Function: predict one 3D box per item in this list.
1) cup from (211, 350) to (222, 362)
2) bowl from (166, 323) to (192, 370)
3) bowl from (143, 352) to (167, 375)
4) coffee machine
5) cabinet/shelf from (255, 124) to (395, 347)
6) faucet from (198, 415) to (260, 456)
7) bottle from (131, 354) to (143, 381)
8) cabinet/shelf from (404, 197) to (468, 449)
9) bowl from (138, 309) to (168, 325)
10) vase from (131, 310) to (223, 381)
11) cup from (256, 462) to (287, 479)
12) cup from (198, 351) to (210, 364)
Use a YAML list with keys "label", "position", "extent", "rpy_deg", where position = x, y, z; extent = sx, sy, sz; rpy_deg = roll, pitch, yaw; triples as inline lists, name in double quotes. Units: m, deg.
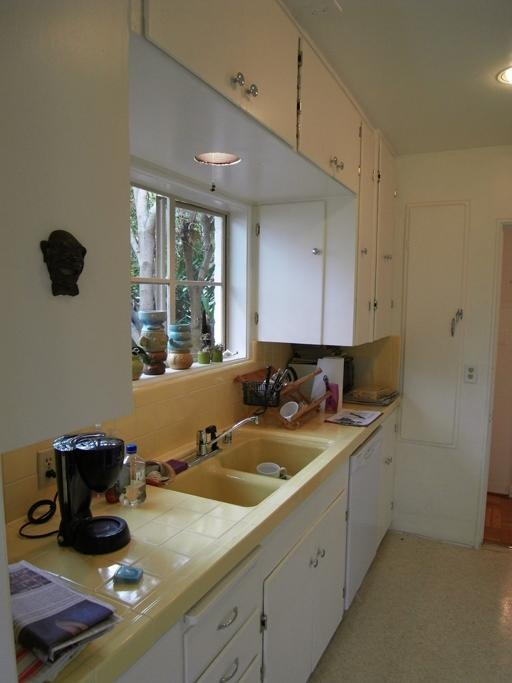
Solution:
- label: "cup"
  position: [-0.173, 0.061, 2.251]
  extent: [0.052, 0.053, 0.037]
  rpy_deg: [-6, 12, -23]
- label: "bowl"
  position: [-0.296, 0.017, 2.032]
  extent: [0.106, 0.176, 0.111]
  rpy_deg: [-2, 6, 0]
- label: "bowl"
  position: [-0.358, 0.075, 1.860]
  extent: [0.073, 0.073, 0.075]
  rpy_deg: [1, 16, 0]
- label: "coffee machine"
  position: [-0.364, 0.328, 1.154]
  extent: [0.191, 0.222, 0.135]
  rpy_deg: [5, 6, 40]
- label: "cabinet/shelf"
  position: [0.279, -0.465, 2.297]
  extent: [0.338, 0.864, 0.973]
  rpy_deg: [1, 6, 16]
- label: "faucet"
  position: [-0.112, 0.368, 2.024]
  extent: [0.064, 0.133, 0.326]
  rpy_deg: [16, 26, 36]
- label: "bottle"
  position: [-0.397, 0.086, 1.747]
  extent: [0.025, 0.087, 0.116]
  rpy_deg: [1, 4, -7]
- label: "cabinet/shelf"
  position: [1.029, -0.131, 3.034]
  extent: [0.365, 1.578, 0.108]
  rpy_deg: [3, -12, 15]
- label: "bowl"
  position: [-0.380, -0.098, 1.849]
  extent: [0.062, 0.038, 0.059]
  rpy_deg: [-1, 13, 0]
- label: "vase"
  position: [-0.303, 0.009, 1.956]
  extent: [0.128, 0.155, 0.384]
  rpy_deg: [-1, 0, 21]
- label: "cup"
  position: [0.057, 0.437, 1.817]
  extent: [0.084, 0.075, 0.054]
  rpy_deg: [2, 6, -5]
- label: "cup"
  position: [-0.222, 0.064, 2.190]
  extent: [0.050, 0.050, 0.051]
  rpy_deg: [2, 18, -1]
